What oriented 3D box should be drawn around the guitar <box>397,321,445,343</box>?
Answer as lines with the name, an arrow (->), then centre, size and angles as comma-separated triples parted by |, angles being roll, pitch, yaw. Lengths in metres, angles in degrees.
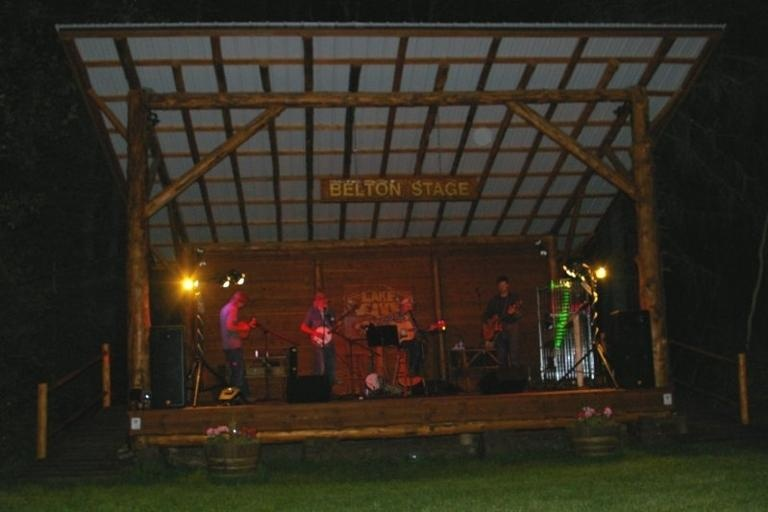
guitar -> 0.824, 1.702, 21.549 | 0.980, 0.421, 0.538 | -4, -8, 1

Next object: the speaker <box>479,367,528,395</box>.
speaker -> 2.169, 2.418, 17.998 | 0.661, 0.313, 0.636 | 4, -13, -23

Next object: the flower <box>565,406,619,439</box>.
flower -> 3.847, 3.088, 17.205 | 0.669, 0.451, 0.652 | -2, -11, 7

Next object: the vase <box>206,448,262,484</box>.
vase -> -2.670, 3.620, 16.484 | 0.935, 0.531, 0.927 | -7, -8, 37

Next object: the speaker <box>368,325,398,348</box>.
speaker -> -0.051, 1.555, 18.829 | 0.621, 0.488, 0.629 | -4, -16, 0

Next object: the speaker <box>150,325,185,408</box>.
speaker -> -4.055, 2.058, 17.429 | 0.635, 1.495, 0.345 | 0, -17, -15

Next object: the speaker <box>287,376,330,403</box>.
speaker -> -1.441, 2.486, 17.408 | 0.733, 0.505, 0.483 | 2, -12, -9

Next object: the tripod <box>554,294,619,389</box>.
tripod -> 4.706, 1.768, 19.416 | 1.600, 1.978, 1.562 | 3, -5, -23

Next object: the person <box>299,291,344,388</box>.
person -> -1.352, 1.810, 19.814 | 0.711, 2.107, 1.233 | -3, -16, -5

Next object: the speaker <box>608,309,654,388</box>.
speaker -> 4.729, 1.777, 17.920 | 0.836, 1.463, 0.486 | -8, -16, 13
